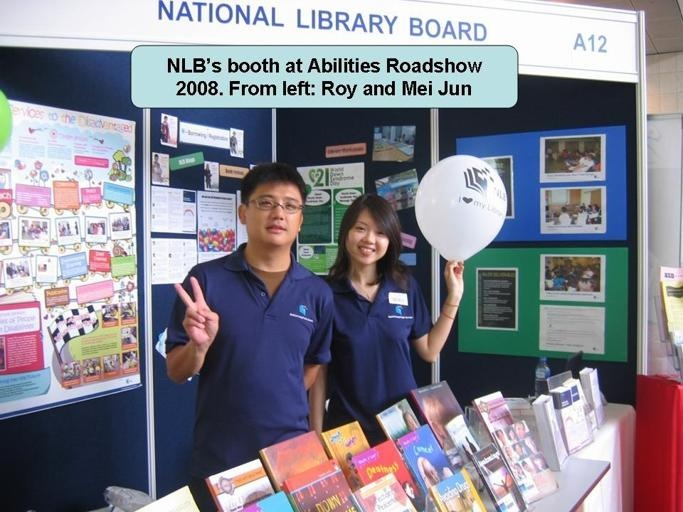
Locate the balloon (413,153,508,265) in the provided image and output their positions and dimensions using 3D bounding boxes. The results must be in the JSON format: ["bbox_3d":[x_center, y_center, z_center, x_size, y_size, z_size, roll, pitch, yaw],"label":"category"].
[{"bbox_3d":[0.605,-0.233,2.727,0.454,0.604,0.492,9,-11,5],"label":"balloon"}]

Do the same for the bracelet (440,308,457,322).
[{"bbox_3d":[0.566,0.299,2.802,0.066,0.079,0.071,6,9,6],"label":"bracelet"}]
